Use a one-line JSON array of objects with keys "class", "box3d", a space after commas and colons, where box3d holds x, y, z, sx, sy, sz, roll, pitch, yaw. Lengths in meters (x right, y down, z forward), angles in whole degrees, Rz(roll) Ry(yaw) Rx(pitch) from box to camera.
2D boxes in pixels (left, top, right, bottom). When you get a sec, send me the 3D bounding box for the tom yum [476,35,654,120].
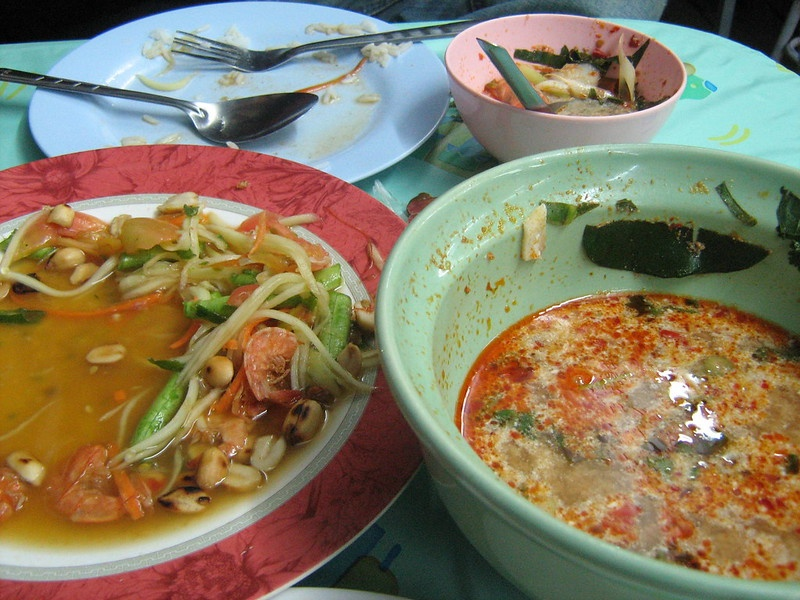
[{"class": "tom yum", "box3d": [0.300, -0.447, 1.278, 0.309, 0.112, 0.297, 26, 48, 26]}]
